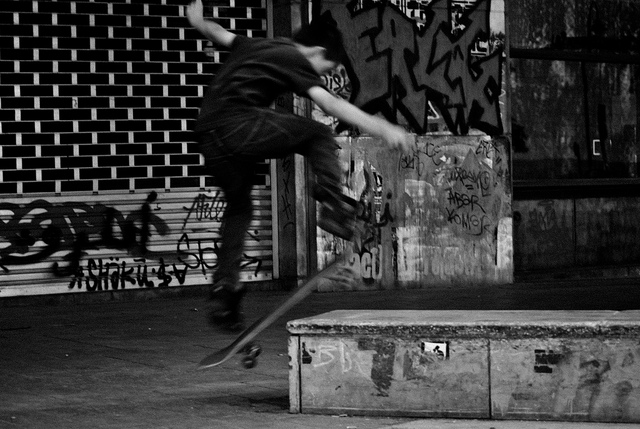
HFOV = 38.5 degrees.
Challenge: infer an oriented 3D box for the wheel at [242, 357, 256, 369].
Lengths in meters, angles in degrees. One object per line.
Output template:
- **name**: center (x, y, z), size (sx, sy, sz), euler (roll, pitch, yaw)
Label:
- **wheel**: center (-0.664, 1.381, 8.679), size (0.117, 0.119, 0.174), euler (2, -2, -4)

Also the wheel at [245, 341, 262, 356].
- **wheel**: center (-0.615, 1.254, 8.674), size (0.140, 0.153, 0.312), euler (1, -3, 10)

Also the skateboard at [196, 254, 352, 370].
- **skateboard**: center (-0.536, 1.083, 10.334), size (1.434, 0.220, 0.303), euler (-40, 8, -1)
